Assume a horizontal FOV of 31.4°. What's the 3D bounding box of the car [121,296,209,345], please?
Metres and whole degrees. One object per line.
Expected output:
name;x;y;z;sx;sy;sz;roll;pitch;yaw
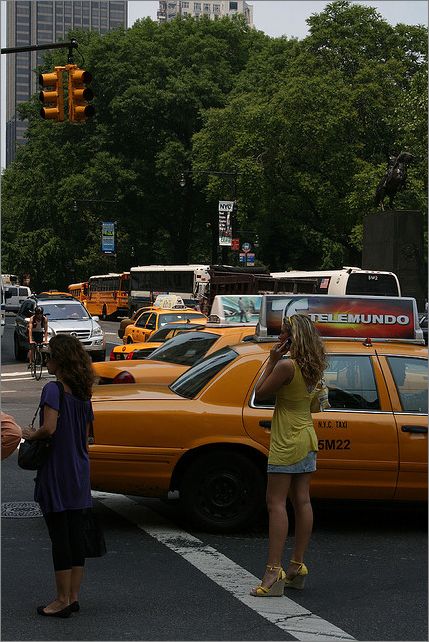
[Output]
car;-1.711;-0.068;22.864;1.553;1.222;3.403;-1;-2;-23

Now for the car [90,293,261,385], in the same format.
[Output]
car;-0.535;0.393;9.636;1.300;1.101;2.206;-4;6;-32

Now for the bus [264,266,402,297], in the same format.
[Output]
bus;5.172;-1.510;30.122;1.695;1.575;5.499;-3;1;-25

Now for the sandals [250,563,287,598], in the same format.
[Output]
sandals;0.306;1.360;4.038;0.217;0.218;0.117;2;-1;8

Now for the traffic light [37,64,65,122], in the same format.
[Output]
traffic light;-3.110;-4.344;14.786;0.433;1.025;0.339;-5;3;-35

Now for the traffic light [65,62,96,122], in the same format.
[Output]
traffic light;-2.670;-4.590;15.076;0.574;1.231;2.417;3;1;-10

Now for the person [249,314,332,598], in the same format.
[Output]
person;0.404;0.725;4.112;0.310;1.431;0.461;2;0;38

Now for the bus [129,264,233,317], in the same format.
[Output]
bus;-2.818;-1.644;47.554;2.123;3.094;7.314;0;3;-40

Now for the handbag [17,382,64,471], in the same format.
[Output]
handbag;-0.865;0.531;3.759;0.197;0.451;0.353;3;0;-17

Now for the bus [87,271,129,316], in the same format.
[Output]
bus;-7.980;-1.766;58.169;1.974;3.004;5.986;7;-1;-32

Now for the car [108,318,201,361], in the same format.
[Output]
car;-1.291;0.493;14.915;0.914;0.681;2.006;2;12;31
